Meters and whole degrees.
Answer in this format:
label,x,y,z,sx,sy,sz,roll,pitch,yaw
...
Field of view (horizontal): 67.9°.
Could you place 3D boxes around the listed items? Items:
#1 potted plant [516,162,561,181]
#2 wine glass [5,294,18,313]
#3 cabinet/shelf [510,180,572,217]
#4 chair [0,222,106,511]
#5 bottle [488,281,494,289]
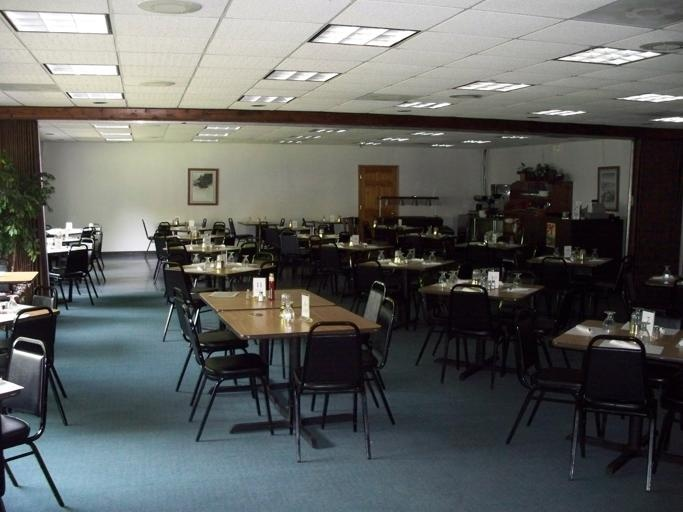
label,x,y,z,sx,sy,sz,roll,pitch,yaw
potted plant,5.793,-2.409,14.579,0.796,0.229,0.558,0,3,-35
wine glass,-3.030,0.433,4.645,0.141,0.202,0.119,2,-1,-25
cabinet/shelf,5.310,-1.493,13.387,1.459,0.865,0.733,0,12,-6
chair,-2.794,0.963,4.889,0.786,1.313,2.195,2,7,-19
bottle,1.690,0.320,5.760,0.082,0.067,0.020,-3,-11,30
